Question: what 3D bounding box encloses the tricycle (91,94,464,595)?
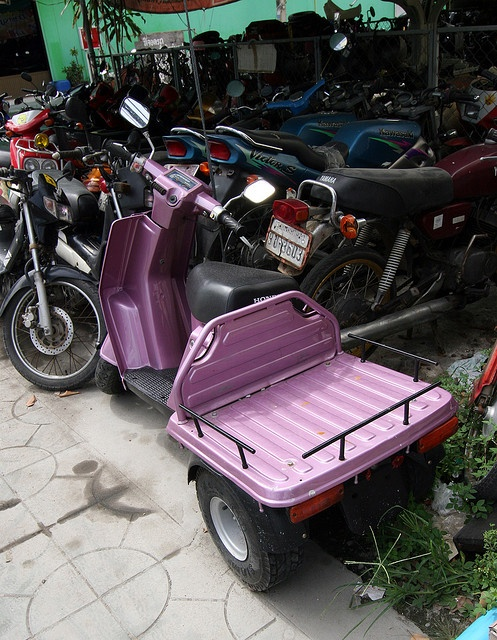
[{"bbox_3d":[-0.177,0.019,2.397,0.980,1.239,2.229,-21,36,-36],"label":"tricycle"}]
